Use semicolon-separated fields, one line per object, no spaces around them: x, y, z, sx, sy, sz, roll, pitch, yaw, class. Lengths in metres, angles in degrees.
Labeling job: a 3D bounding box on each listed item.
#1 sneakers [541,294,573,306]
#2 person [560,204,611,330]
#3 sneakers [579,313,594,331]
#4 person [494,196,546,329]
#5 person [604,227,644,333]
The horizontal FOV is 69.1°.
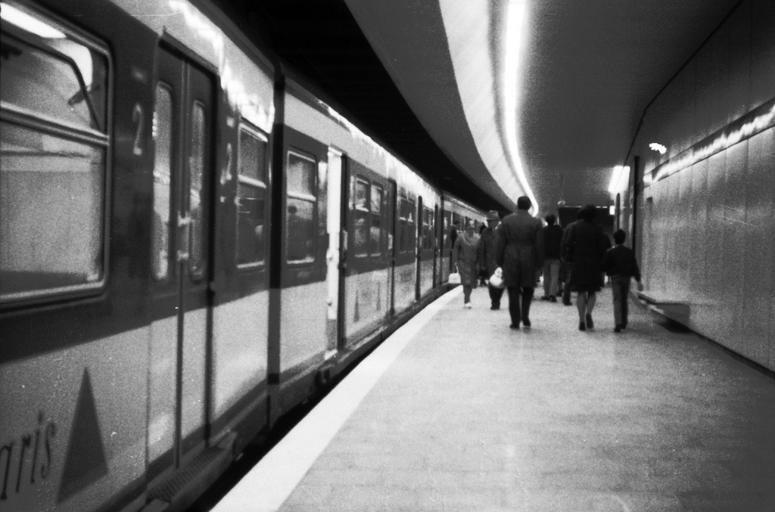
4.466;1.179;14.898;0.664;0.300;0.205;13;-4;-9;sneakers
3.652;0.188;10.436;0.862;2.356;0.821;3;-3;-21;person
3.612;1.195;10.223;0.241;0.294;0.426;2;3;21;sneakers
2.449;0.097;10.489;0.824;2.465;0.967;1;2;10;person
4.274;0.452;10.251;0.576;1.839;0.861;2;2;25;person
